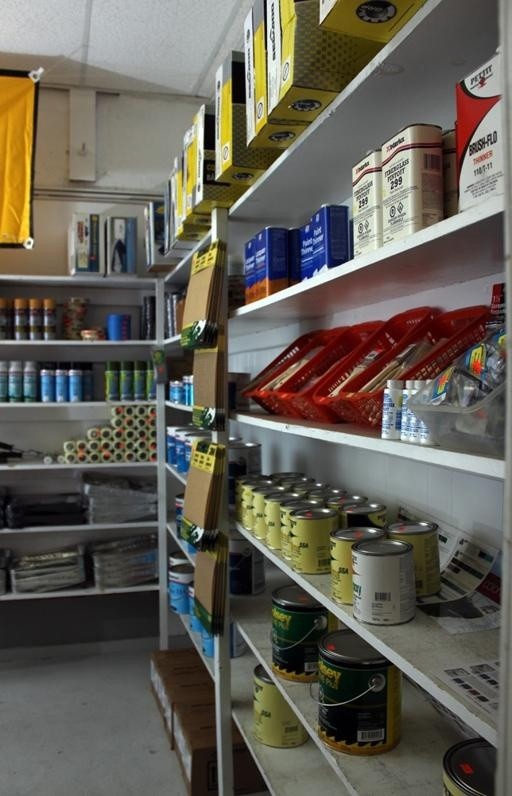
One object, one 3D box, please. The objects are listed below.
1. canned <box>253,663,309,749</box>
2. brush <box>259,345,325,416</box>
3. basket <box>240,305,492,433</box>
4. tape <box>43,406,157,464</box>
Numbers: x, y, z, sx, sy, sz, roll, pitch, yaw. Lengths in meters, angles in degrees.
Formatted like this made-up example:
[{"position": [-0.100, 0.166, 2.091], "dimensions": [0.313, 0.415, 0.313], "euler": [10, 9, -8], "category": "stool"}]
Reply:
[{"position": [0.067, 0.775, 1.613], "dimensions": [0.112, 0.184, 0.137], "euler": [1, 0, -16], "category": "canned"}, {"position": [0.074, -0.046, 1.645], "dimensions": [0.126, 0.190, 0.155], "euler": [-1, 7, -30], "category": "brush"}, {"position": [0.209, -0.074, 1.302], "dimensions": [0.353, 0.213, 0.719], "euler": [-1, 6, -26], "category": "basket"}, {"position": [-0.710, 0.207, 3.167], "dimensions": [0.509, 0.308, 0.268], "euler": [2, 3, -24], "category": "tape"}]
